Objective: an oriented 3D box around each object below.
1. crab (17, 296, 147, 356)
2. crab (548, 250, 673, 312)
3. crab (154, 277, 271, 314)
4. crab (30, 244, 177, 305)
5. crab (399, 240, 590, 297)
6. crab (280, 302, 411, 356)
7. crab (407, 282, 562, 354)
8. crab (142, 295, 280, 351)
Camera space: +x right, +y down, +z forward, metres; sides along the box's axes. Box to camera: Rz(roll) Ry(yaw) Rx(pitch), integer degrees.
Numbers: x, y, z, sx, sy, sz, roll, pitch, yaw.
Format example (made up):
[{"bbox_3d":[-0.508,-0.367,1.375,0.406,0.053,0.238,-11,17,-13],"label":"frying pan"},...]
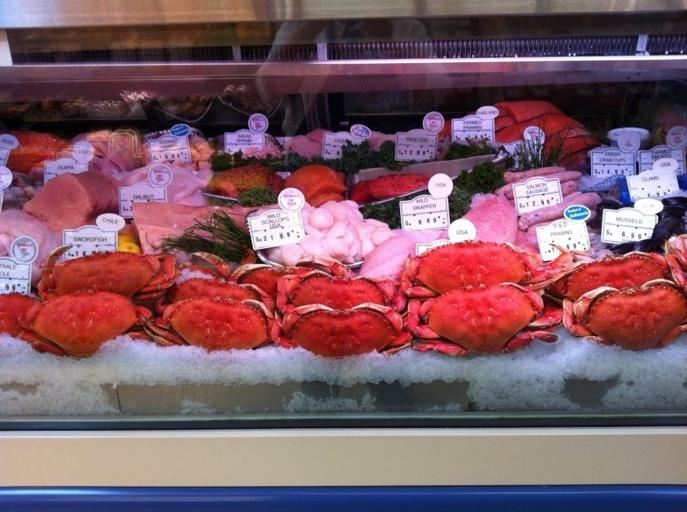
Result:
[{"bbox_3d":[-0.870,0.231,1.807,0.403,0.180,0.128,-4,21,3],"label":"crab"},{"bbox_3d":[0.916,0.064,1.830,0.322,0.092,0.180,-11,18,12],"label":"crab"},{"bbox_3d":[-0.463,0.142,1.932,0.444,0.119,0.158,1,4,-5],"label":"crab"},{"bbox_3d":[-0.868,0.066,1.961,0.494,0.127,0.300,-7,38,-31],"label":"crab"},{"bbox_3d":[0.460,-0.013,2.061,0.717,0.171,0.462,-3,8,-9],"label":"crab"},{"bbox_3d":[0.003,0.243,1.770,0.429,0.156,0.084,-4,21,3],"label":"crab"},{"bbox_3d":[0.464,0.210,1.747,0.463,0.133,0.238,0,64,7],"label":"crab"},{"bbox_3d":[-0.448,0.231,1.800,0.439,0.157,0.093,-2,22,9],"label":"crab"}]
